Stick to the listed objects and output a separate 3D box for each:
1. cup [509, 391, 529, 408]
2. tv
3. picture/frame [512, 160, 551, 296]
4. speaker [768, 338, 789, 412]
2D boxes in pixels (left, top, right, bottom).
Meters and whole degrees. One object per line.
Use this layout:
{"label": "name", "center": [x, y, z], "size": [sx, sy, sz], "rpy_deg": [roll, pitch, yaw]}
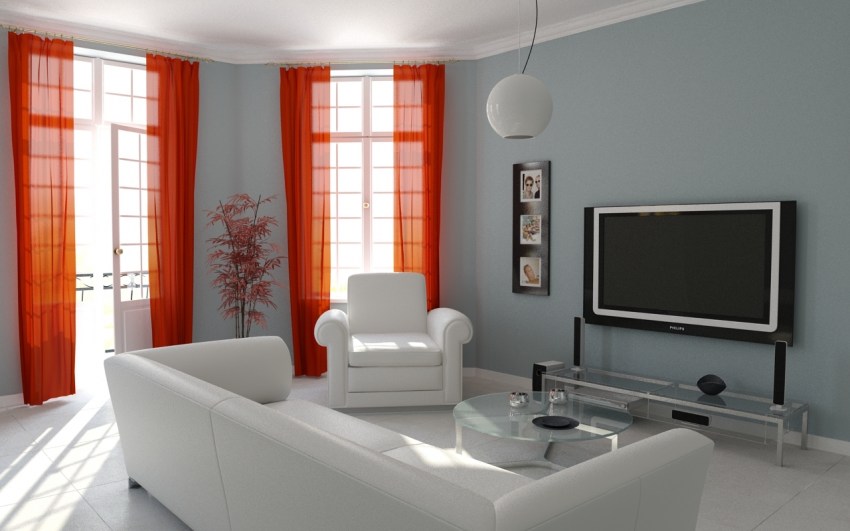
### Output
{"label": "cup", "center": [0.776, 1.103, 4.761], "size": [0.138, 0.086, 0.134], "rpy_deg": [0, -3, 0]}
{"label": "tv", "center": [2.528, 0.009, 5.448], "size": [1.407, 0.940, 0.064], "rpy_deg": [2, 3, 38]}
{"label": "picture/frame", "center": [1.183, -0.411, 6.447], "size": [0.433, 1.467, 0.216], "rpy_deg": [0, 8, 28]}
{"label": "speaker", "center": [3.056, 0.926, 4.996], "size": [0.093, 0.545, 0.285], "rpy_deg": [1, 8, 32]}
